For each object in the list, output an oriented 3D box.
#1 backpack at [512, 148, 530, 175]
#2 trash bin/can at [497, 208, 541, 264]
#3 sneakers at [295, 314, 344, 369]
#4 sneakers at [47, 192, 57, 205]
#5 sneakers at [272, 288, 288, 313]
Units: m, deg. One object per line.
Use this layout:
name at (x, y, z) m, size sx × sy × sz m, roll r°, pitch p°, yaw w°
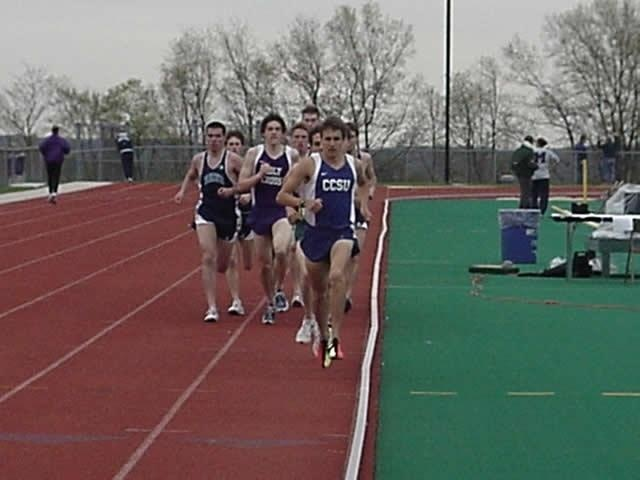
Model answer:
backpack at (4.470, -1.749, 16.037) m, size 0.517 × 0.658 × 0.400 m, roll 7°, pitch 8°, yaw 40°
trash bin/can at (3.044, -0.052, 11.485) m, size 0.703 × 0.976 × 0.759 m, roll 0°, pitch 1°, yaw 2°
sneakers at (-0.018, 0.854, 6.148) m, size 0.201 × 0.314 × 0.695 m, roll -1°, pitch 20°, yaw -16°
sneakers at (-6.928, -1.084, 18.700) m, size 0.184 × 0.282 × 0.608 m, roll 1°, pitch 6°, yaw -9°
sneakers at (-0.448, 0.700, 8.221) m, size 0.101 × 0.115 × 0.268 m, roll -4°, pitch 38°, yaw -3°
